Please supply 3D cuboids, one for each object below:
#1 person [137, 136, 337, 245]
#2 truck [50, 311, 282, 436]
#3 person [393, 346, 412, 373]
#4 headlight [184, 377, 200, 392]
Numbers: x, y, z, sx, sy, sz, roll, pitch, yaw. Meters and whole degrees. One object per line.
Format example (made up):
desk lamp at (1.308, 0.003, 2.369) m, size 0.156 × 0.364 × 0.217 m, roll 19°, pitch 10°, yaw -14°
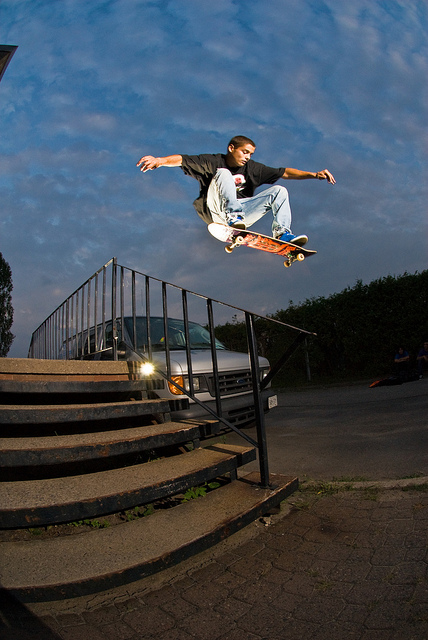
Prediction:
person at (0.277, -1.399, 4.823) m, size 2.097 × 1.304 × 0.956 m, roll 1°, pitch -8°, yaw -7°
truck at (-0.844, 0.670, 6.039) m, size 1.780 × 1.325 × 3.159 m, roll 4°, pitch -7°, yaw -38°
person at (5.120, 1.040, 12.172) m, size 0.422 × 0.521 × 0.928 m, roll -15°, pitch 8°, yaw 28°
headlight at (-0.224, 0.664, 4.607) m, size 0.098 × 0.150 × 0.330 m, roll -8°, pitch -4°, yaw 10°
